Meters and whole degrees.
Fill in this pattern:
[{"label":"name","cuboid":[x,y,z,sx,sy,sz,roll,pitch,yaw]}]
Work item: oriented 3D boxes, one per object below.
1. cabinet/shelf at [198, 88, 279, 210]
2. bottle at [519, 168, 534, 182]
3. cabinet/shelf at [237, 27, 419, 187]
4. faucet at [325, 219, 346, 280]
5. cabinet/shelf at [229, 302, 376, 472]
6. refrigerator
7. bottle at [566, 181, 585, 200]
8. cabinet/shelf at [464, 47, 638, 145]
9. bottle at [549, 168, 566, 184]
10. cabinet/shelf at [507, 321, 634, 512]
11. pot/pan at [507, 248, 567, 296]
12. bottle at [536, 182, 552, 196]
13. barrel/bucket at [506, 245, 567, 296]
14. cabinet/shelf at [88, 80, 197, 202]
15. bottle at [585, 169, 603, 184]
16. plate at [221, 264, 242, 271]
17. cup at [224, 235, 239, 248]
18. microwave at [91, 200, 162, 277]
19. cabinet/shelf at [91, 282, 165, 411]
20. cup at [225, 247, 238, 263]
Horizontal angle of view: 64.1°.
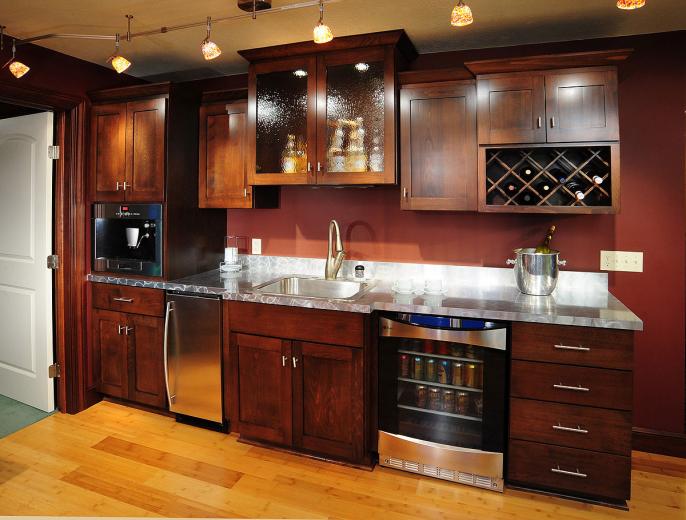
[{"label":"cabinet/shelf","cuboid":[-0.850,-0.788,4.361,0.499,0.758,0.497,1,1,4]},{"label":"bottle","cuboid":[1.221,-0.565,3.697,0.107,0.097,0.104,1,39,8]},{"label":"cabinet/shelf","cuboid":[-0.128,-1.016,4.003,1.221,0.993,0.477,2,4,18]},{"label":"faucet","cuboid":[-0.067,-0.083,4.153,0.154,0.450,0.258,1,4,-1]},{"label":"cabinet/shelf","cuboid":[-0.214,0.808,3.891,1.170,1.039,0.580,1,4,29]},{"label":"refrigerator","cuboid":[0.752,0.892,3.748,0.946,1.053,0.846,2,1,13]},{"label":"bottle","cuboid":[1.521,-0.460,3.594,0.125,0.140,0.209,3,5,23]},{"label":"cabinet/shelf","cuboid":[1.333,-1.038,3.529,0.746,0.433,0.260,0,0,17]},{"label":"bottle","cuboid":[1.413,-0.554,3.607,0.108,0.119,0.134,2,5,16]},{"label":"cabinet/shelf","cuboid":[1.459,0.899,3.585,0.746,1.071,0.770,3,7,24]},{"label":"pot/pan","cuboid":[1.287,0.065,3.674,0.449,0.327,0.288,0,2,11]},{"label":"bottle","cuboid":[1.323,-0.472,3.620,0.109,0.104,0.078,2,5,17]},{"label":"barrel/bucket","cuboid":[1.273,0.089,3.646,0.370,0.272,0.241,0,-1,7]},{"label":"cabinet/shelf","cuboid":[-1.498,-0.872,4.095,0.972,1.011,0.533,0,-1,22]},{"label":"bottle","cuboid":[1.627,-0.537,3.548,0.106,0.111,0.180,3,5,23]},{"label":"plate","cuboid":[-0.894,0.060,4.309,0.162,0.064,0.103,0,5,-10]},{"label":"cup","cuboid":[-0.913,-0.149,4.512,0.117,0.089,0.053,-1,5,-19]},{"label":"microwave","cuboid":[-1.618,-0.168,4.124,0.609,0.523,0.231,0,-1,18]},{"label":"cabinet/shelf","cuboid":[-1.531,0.606,4.427,0.735,0.963,0.633,4,6,20]},{"label":"cup","cuboid":[-0.907,-0.043,4.398,0.108,0.121,0.257,0,5,-12]}]
